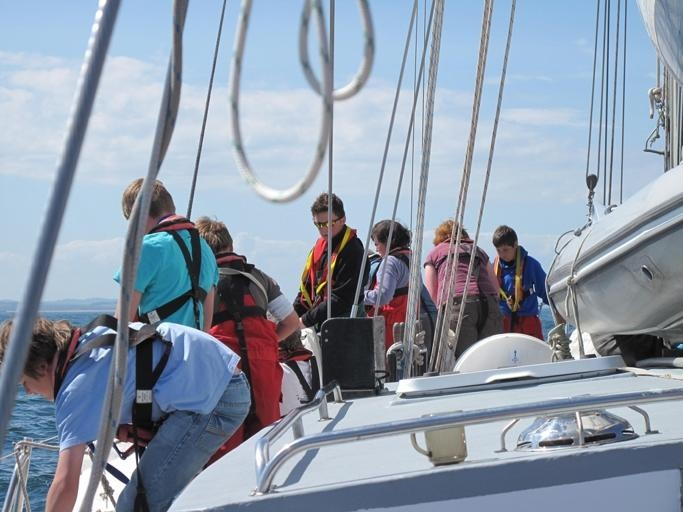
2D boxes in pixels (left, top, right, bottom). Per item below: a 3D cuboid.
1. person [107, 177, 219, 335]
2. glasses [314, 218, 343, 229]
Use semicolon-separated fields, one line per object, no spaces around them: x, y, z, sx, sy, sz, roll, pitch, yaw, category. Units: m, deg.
-0.939;0.004;5.675;0.605;0.903;0.294;14;-27;-31;person
-0.124;-0.250;7.489;0.177;0.060;0.189;-5;-7;31;glasses
